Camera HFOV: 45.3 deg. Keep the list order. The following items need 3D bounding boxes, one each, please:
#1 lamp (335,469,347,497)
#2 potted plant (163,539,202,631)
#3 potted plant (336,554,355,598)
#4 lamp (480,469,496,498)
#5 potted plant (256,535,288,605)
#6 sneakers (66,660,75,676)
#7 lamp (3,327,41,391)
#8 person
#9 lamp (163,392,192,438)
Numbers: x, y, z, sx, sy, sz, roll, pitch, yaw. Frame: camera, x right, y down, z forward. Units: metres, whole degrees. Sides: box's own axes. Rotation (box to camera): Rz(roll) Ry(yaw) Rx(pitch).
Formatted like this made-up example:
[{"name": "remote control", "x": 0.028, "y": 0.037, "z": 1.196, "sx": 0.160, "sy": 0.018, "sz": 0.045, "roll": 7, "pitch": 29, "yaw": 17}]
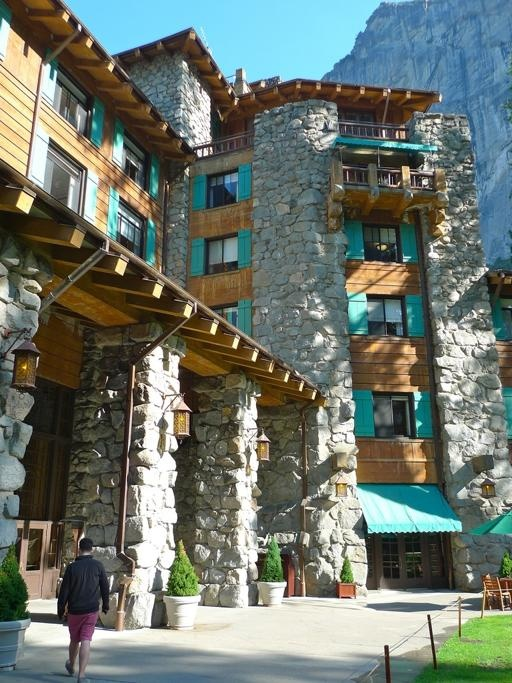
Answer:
[{"name": "lamp", "x": 2.396, "y": 3.883, "z": 16.868, "sx": 0.426, "sy": 0.720, "sz": 0.346, "roll": 8, "pitch": -23, "yaw": -22}, {"name": "potted plant", "x": -1.071, "y": 3.570, "z": 8.921, "sx": 0.501, "sy": 1.156, "sz": 0.394, "roll": 0, "pitch": -21, "yaw": -4}, {"name": "potted plant", "x": 2.304, "y": 6.057, "z": 15.687, "sx": 0.483, "sy": 0.974, "sz": 0.665, "roll": -3, "pitch": -21, "yaw": 6}, {"name": "lamp", "x": 6.719, "y": 4.211, "z": 17.761, "sx": 0.424, "sy": 0.654, "sz": 0.777, "roll": -8, "pitch": -21, "yaw": 18}, {"name": "potted plant", "x": 0.319, "y": 4.823, "z": 12.873, "sx": 0.577, "sy": 1.348, "sz": 0.895, "roll": -1, "pitch": -21, "yaw": 0}, {"name": "sneakers", "x": -1.728, "y": 3.075, "z": 5.766, "sx": 0.056, "sy": 0.062, "sz": 0.150, "roll": 7, "pitch": -9, "yaw": -16}, {"name": "lamp", "x": -2.505, "y": 0.181, "z": 6.693, "sx": 0.385, "sy": 0.657, "sz": 0.405, "roll": -2, "pitch": -21, "yaw": 3}, {"name": "person", "x": -1.642, "y": 2.531, "z": 5.894, "sx": 0.464, "sy": 1.225, "sz": 0.957, "roll": 5, "pitch": -21, "yaw": -14}, {"name": "lamp", "x": -1.193, "y": 1.194, "z": 9.966, "sx": 0.305, "sy": 0.726, "sz": 0.514, "roll": -4, "pitch": -21, "yaw": 8}]
